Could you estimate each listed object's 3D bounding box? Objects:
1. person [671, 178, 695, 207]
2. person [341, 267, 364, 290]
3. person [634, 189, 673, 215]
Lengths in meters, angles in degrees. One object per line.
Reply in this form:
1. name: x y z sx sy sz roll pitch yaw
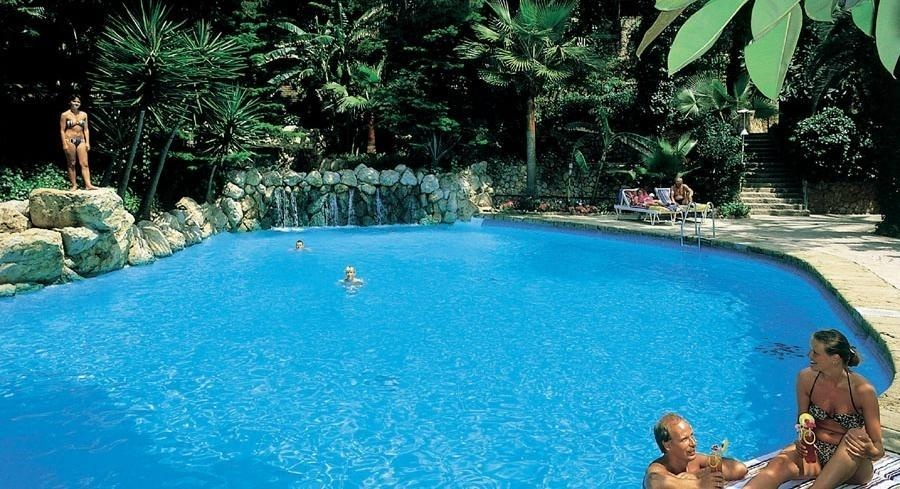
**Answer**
1. person: 8.840 -2.032 22.486 0.685 1.075 2.199 2 3 21
2. person: -2.576 0.864 15.591 0.607 0.537 0.842 0 3 -9
3. person: 7.603 -1.642 22.332 0.843 0.386 1.244 -14 37 -32
